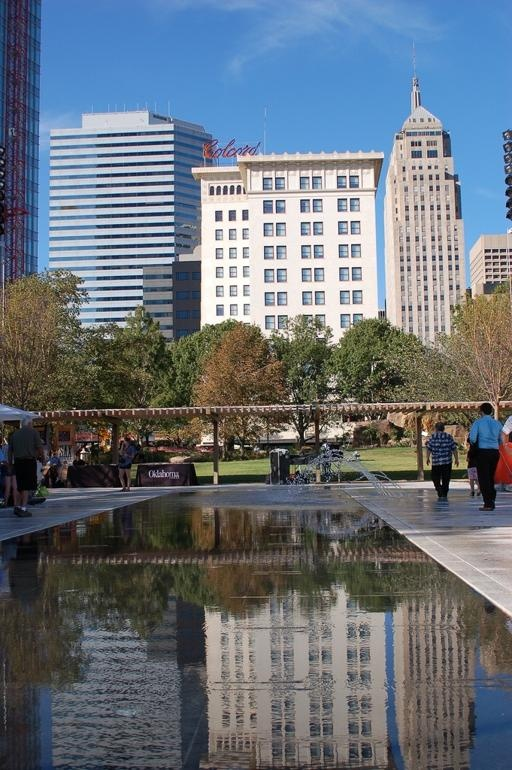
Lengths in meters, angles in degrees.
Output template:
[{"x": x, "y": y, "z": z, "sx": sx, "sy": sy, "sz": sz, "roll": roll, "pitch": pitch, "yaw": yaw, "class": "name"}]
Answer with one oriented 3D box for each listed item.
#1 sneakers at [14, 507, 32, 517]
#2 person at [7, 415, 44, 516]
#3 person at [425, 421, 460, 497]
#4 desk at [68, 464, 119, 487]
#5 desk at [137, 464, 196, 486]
[{"x": -3.442, "y": 1.931, "z": 19.414, "sx": 0.144, "sy": 0.141, "sz": 0.362, "roll": -29, "pitch": -17, "yaw": 13, "class": "sneakers"}, {"x": -3.414, "y": 1.258, "z": 19.487, "sx": 0.493, "sy": 1.500, "sz": 0.634, "roll": 0, "pitch": -1, "yaw": -10, "class": "person"}, {"x": 2.928, "y": 1.179, "z": 20.435, "sx": 0.432, "sy": 1.334, "sz": 0.362, "roll": 1, "pitch": 17, "yaw": 14, "class": "person"}, {"x": -4.123, "y": 2.370, "z": 33.251, "sx": 1.347, "sy": 0.567, "sz": 0.492, "roll": 0, "pitch": -1, "yaw": -16, "class": "desk"}, {"x": -2.275, "y": 2.343, "z": 33.369, "sx": 1.525, "sy": 0.556, "sz": 0.696, "roll": -1, "pitch": -1, "yaw": -6, "class": "desk"}]
